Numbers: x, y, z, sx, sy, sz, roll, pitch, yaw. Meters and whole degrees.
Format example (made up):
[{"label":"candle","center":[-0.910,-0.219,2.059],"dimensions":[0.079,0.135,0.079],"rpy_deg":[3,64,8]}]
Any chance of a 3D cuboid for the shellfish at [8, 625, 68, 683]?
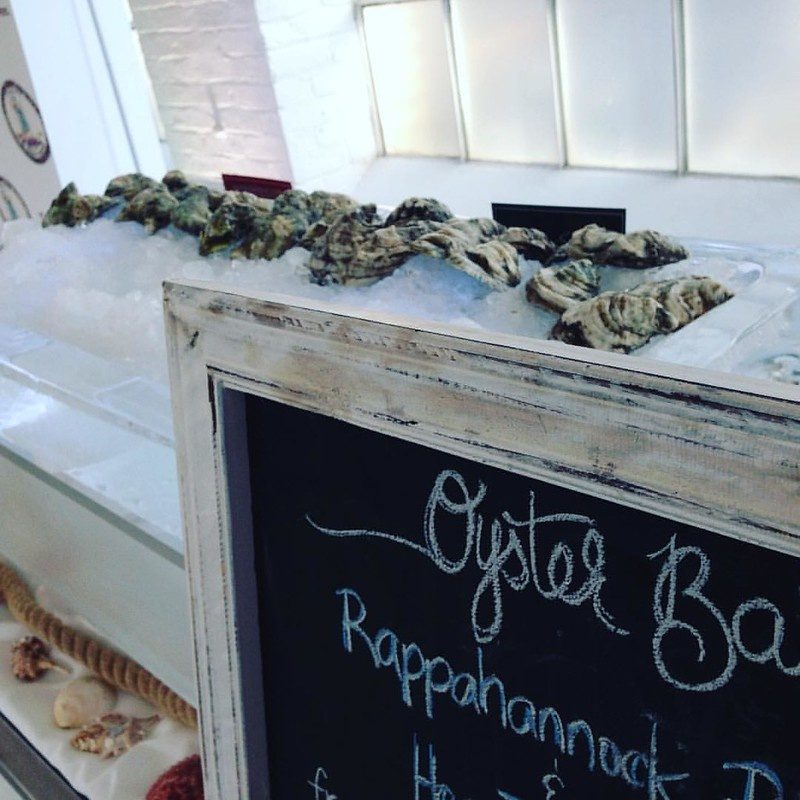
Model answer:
[{"label":"shellfish","center":[-0.404,0.287,0.859],"dimensions":[0.064,0.027,0.044],"rpy_deg":[11,41,5]}]
